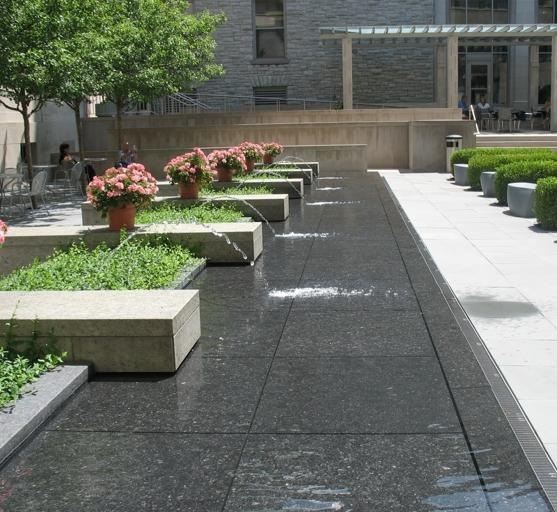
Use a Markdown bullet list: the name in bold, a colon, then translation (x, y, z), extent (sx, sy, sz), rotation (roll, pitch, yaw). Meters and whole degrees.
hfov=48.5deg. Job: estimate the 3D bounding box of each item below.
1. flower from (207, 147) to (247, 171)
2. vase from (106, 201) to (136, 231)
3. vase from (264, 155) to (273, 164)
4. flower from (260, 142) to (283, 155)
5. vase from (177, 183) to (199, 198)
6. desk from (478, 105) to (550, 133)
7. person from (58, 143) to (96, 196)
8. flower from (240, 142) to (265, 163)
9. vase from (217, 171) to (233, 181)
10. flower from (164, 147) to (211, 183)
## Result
- **flower**: translation (-1.073, -2.065, 13.399), extent (0.918, 0.453, 0.856), rotation (-1, 13, -4)
- **vase**: translation (-1.880, -0.462, 7.393), extent (0.345, 0.232, 0.325), rotation (0, 3, 0)
- **vase**: translation (-0.294, -2.882, 18.406), extent (0.278, 0.274, 0.275), rotation (-1, 12, -1)
- **flower**: translation (-0.189, -3.174, 18.490), extent (0.616, 0.375, 0.524), rotation (-1, 26, -3)
- **vase**: translation (-1.465, -1.074, 10.088), extent (0.269, 0.168, 0.254), rotation (-4, 8, -27)
- **desk**: translation (11.531, -6.688, 30.032), extent (3.213, 1.222, 9.754), rotation (5, 13, 24)
- **person**: translation (-6.175, -2.562, 18.910), extent (0.827, 0.737, 0.787), rotation (-16, 38, -34)
- **flower**: translation (-0.721, -2.683, 16.043), extent (0.614, 0.392, 0.575), rotation (-4, 21, -22)
- **vase**: translation (-1.167, -1.740, 13.296), extent (0.262, 0.162, 0.248), rotation (0, 18, 6)
- **flower**: translation (-1.439, -1.466, 10.054), extent (0.678, 0.432, 0.614), rotation (-2, 15, 1)
